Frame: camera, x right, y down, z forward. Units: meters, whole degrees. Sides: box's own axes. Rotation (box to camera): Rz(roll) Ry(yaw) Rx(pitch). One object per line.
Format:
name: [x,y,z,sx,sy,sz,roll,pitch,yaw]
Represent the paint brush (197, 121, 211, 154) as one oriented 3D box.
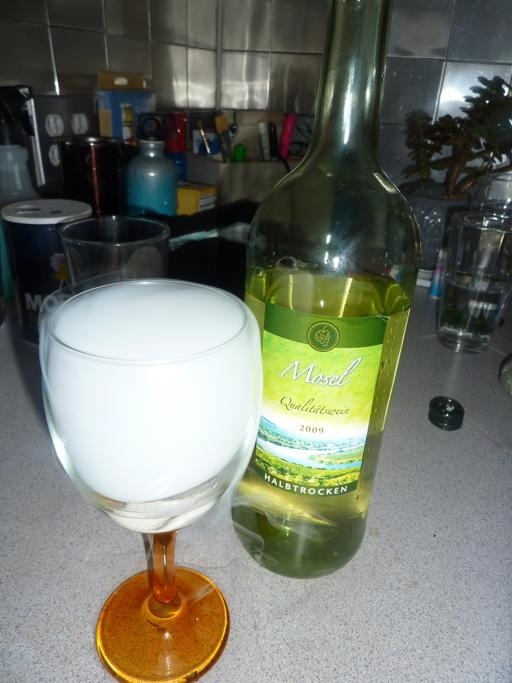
paint brush: [-0.114,-0.451,1.181,0.018,0.099,0.016,-24,-19,27]
